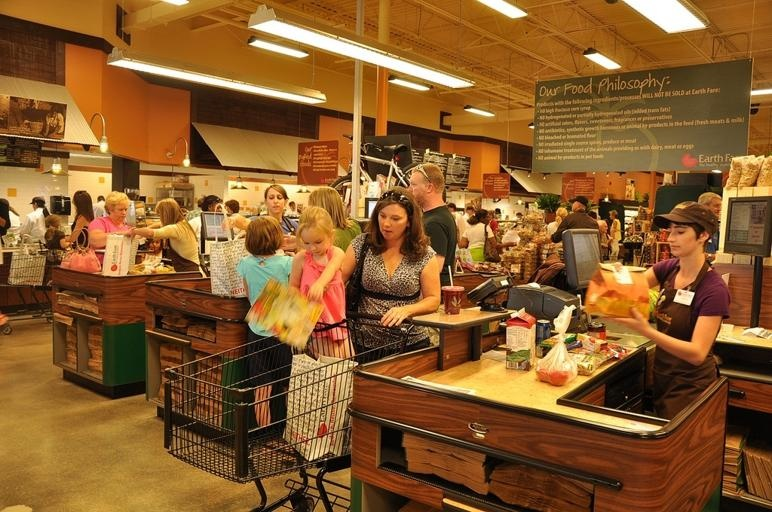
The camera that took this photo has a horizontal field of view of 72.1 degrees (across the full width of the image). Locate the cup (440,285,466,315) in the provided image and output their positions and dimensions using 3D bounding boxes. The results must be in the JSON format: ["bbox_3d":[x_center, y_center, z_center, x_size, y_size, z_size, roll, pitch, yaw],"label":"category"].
[{"bbox_3d":[0.454,0.302,3.667,0.178,0.159,0.177,2,3,0],"label":"cup"}]

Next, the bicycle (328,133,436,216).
[{"bbox_3d":[-0.062,-1.055,7.195,1.735,1.036,0.769,-18,22,-34],"label":"bicycle"}]

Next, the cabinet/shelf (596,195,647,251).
[{"bbox_3d":[8.296,-1.084,18.104,0.716,1.515,1.944,-6,8,-23],"label":"cabinet/shelf"}]

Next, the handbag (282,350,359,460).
[{"bbox_3d":[-0.458,0.978,3.529,0.519,0.531,0.390,19,-4,-19],"label":"handbag"}]

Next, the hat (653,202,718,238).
[{"bbox_3d":[2.109,-0.256,3.654,0.382,0.179,0.260,20,0,31],"label":"hat"}]

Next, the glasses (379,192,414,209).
[{"bbox_3d":[0.080,-0.392,3.816,0.141,0.069,0.168,5,-1,-5],"label":"glasses"}]

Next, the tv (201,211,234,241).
[{"bbox_3d":[-1.851,-0.318,5.811,0.369,0.317,0.134,-1,13,-17],"label":"tv"}]
